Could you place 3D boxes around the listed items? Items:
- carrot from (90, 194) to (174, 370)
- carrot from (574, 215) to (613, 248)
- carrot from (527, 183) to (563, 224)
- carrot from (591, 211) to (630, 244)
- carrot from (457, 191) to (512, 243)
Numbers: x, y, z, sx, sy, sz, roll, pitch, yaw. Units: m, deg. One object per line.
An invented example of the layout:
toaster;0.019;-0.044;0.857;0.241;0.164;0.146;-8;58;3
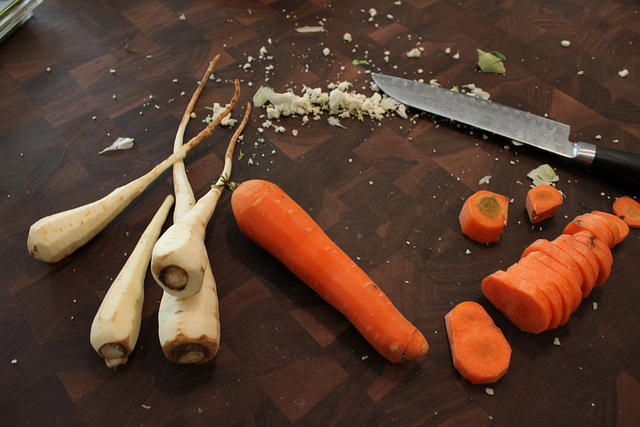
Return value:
carrot;-0.727;0.269;2.357;0.144;0.176;0.673;19;62;-6
carrot;1.132;0.072;2.361;0.116;0.031;0.122;29;66;-17
carrot;0.980;-0.061;2.484;0.170;0.118;0.118;-46;56;-1
carrot;1.227;0.054;2.436;0.131;0.033;0.134;-7;47;-25
carrot;0.708;0.005;2.468;0.193;0.183;0.190;-11;71;-8
